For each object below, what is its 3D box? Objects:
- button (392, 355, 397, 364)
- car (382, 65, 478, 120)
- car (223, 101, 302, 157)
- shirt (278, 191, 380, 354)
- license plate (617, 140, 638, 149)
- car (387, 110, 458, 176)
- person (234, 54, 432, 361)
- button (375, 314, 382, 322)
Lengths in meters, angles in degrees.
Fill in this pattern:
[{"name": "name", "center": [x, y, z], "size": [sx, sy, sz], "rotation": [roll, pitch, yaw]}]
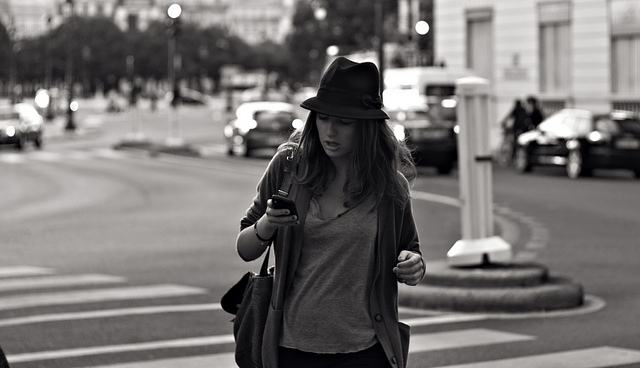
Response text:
[{"name": "button", "center": [0.581, 1.365, 6.181], "size": [0.041, 0.059, 0.016], "rotation": [-5, 9, -22]}, {"name": "car", "center": [3.359, -2.819, 24.437], "size": [2.991, 2.278, 2.249], "rotation": [-2, 9, -9]}, {"name": "car", "center": [-2.571, -2.024, 31.981], "size": [2.188, 1.748, 3.829], "rotation": [-2, 9, -8]}, {"name": "shirt", "center": [0.075, 0.695, 6.218], "size": [0.761, 1.168, 0.347], "rotation": [-1, 8, 4]}, {"name": "license plate", "center": [9.020, -1.172, 23.275], "size": [0.516, 0.241, 0.227], "rotation": [2, 10, 21]}, {"name": "car", "center": [3.217, -1.340, 23.615], "size": [2.165, 1.816, 2.216], "rotation": [0, 3, 3]}, {"name": "person", "center": [0.128, 0.210, 6.246], "size": [1.368, 2.388, 0.565], "rotation": [-3, 8, -5]}, {"name": "button", "center": [0.455, 1.051, 6.191], "size": [0.054, 0.060, 0.013], "rotation": [3, 1, -3]}]
